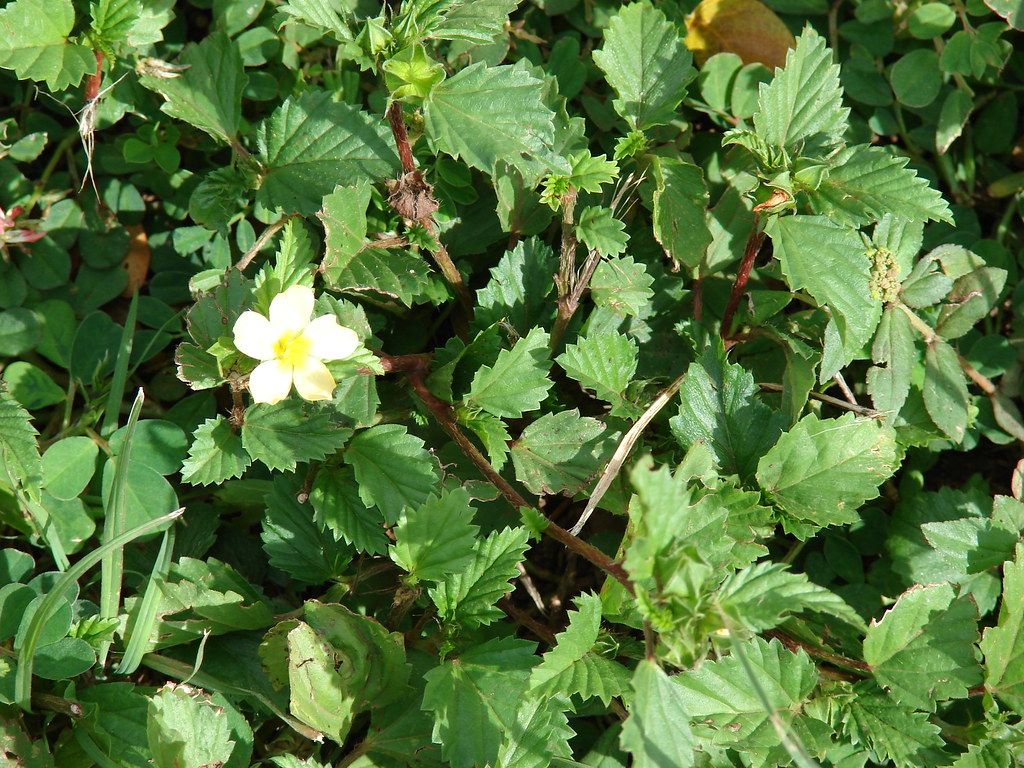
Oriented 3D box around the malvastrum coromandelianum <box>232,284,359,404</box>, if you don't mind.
[{"bbox_3d":[-0.495,-0.073,2.080,0.235,0.161,0.229,29,51,5],"label":"malvastrum coromandelianum"}]
